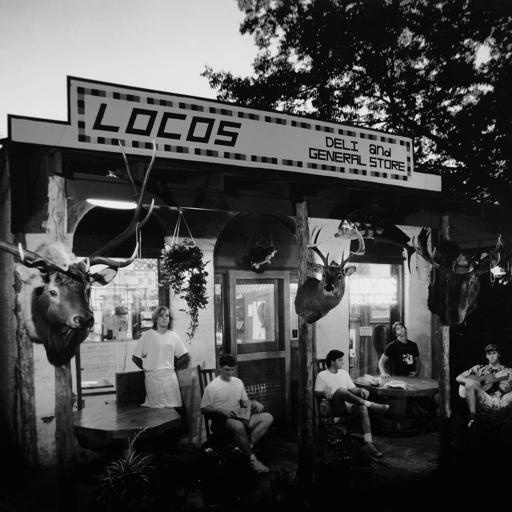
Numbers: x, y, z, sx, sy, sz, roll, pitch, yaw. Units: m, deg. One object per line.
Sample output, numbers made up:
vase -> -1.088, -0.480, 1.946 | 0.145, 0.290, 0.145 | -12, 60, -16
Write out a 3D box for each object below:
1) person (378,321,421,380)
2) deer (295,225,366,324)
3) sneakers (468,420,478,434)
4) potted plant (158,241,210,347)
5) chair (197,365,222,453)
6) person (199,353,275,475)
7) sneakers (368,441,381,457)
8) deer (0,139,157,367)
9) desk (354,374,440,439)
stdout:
person -> 2.065, 1.390, 9.247 | 0.579, 1.288, 0.340 | 3, -10, -21
deer -> 0.992, 0.227, 8.643 | 0.525, 1.477, 0.874 | 9, 17, -5
sneakers -> 3.312, 2.602, 9.667 | 0.058, 0.147, 0.243 | -7, 17, 27
potted plant -> -0.846, 0.408, 7.725 | 0.525, 1.208, 0.547 | 2, 7, 6
chair -> -0.489, 1.926, 7.812 | 0.479, 1.079, 0.576 | 3, -16, -6
person -> -0.206, 1.919, 7.896 | 0.808, 1.467, 0.720 | -9, -7, 36
sneakers -> 1.605, 2.636, 8.615 | 0.094, 0.085, 0.267 | 3, 1, -23
deer -> -2.034, 0.067, 6.855 | 1.302, 2.258, 0.746 | 0, -4, -16
desk -> 2.019, 2.224, 9.181 | 1.126, 0.709, 1.289 | 3, -6, -14
